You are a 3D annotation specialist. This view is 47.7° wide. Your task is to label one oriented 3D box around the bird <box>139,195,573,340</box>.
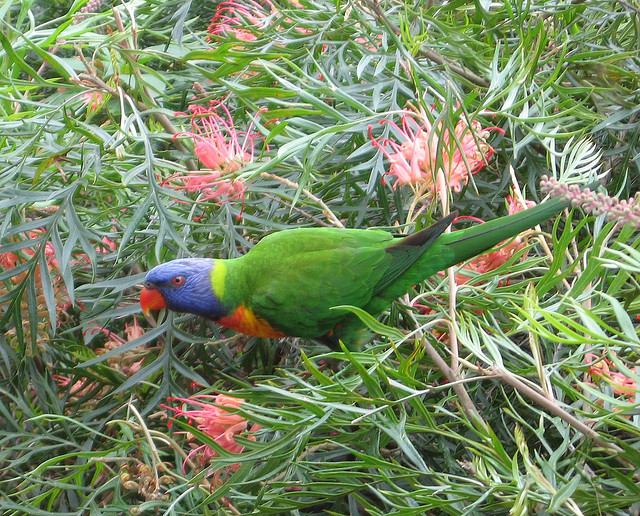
[{"bbox_3d":[-0.012,0.077,2.021,1.413,0.359,0.334,-7,21,12],"label":"bird"}]
